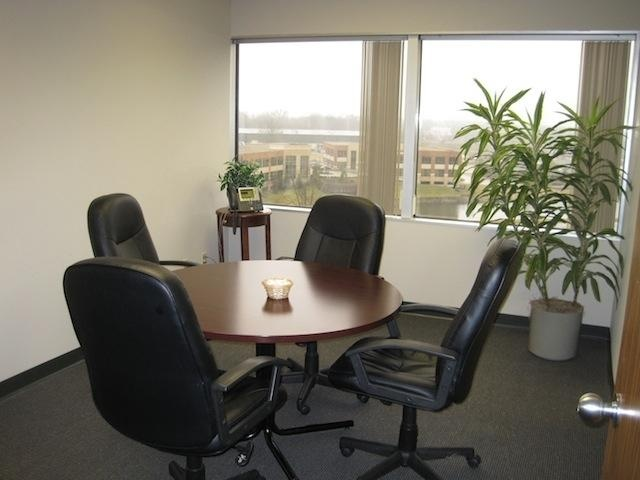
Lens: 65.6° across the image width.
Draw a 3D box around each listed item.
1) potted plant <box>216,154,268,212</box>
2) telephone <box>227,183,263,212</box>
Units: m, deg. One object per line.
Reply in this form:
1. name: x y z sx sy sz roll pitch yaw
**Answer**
1. potted plant: -0.845 -0.524 5.241 0.495 0.545 0.357 -8 -2 -32
2. telephone: -0.749 -0.424 5.106 0.258 0.228 0.287 -2 3 -39
